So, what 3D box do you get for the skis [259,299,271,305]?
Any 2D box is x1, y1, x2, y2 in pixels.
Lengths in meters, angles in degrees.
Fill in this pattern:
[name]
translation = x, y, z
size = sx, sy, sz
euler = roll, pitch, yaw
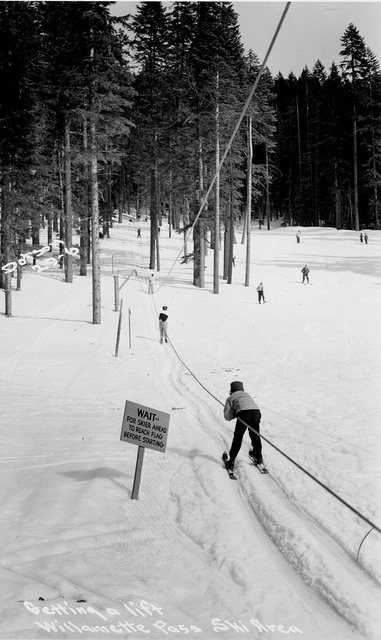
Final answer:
[skis]
translation = 3.244, -0.772, 29.406
size = 0.540, 0.084, 0.084
euler = -19, 52, -31
